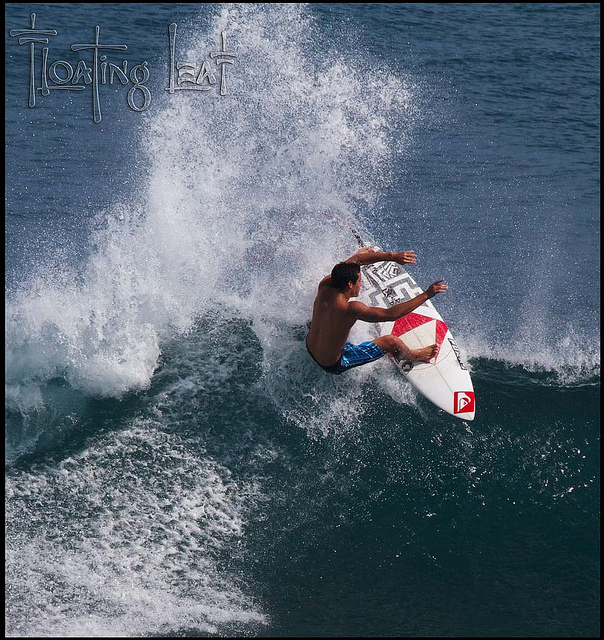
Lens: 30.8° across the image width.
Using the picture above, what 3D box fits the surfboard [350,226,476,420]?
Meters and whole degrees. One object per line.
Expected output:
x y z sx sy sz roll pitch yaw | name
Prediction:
2.404 0.399 21.689 1.233 0.473 5.573 -28 46 -6 | surfboard
